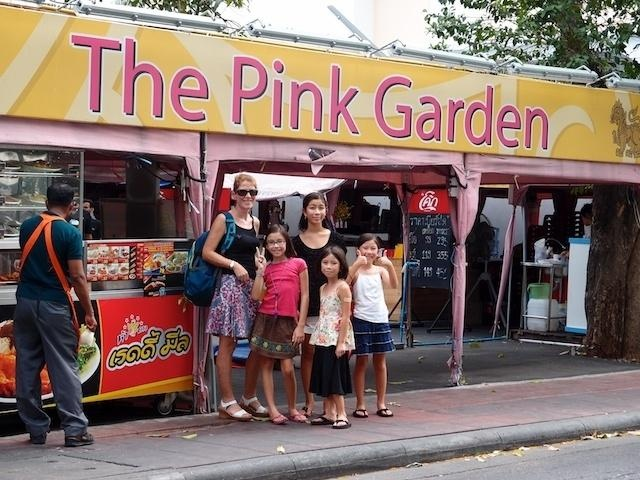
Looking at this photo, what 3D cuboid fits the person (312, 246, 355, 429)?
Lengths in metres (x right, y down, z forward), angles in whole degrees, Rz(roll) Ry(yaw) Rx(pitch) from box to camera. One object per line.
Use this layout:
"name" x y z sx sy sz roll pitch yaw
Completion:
"person" 0.120 0.969 6.579 0.448 1.800 0.364 0 -1 1

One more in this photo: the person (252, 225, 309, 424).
"person" -0.415 0.862 6.676 0.576 2.025 0.318 0 -1 -6

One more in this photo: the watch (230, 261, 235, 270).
"watch" -0.885 0.254 6.542 0.070 0.082 0.051 0 -1 -36

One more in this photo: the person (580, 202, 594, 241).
"person" 5.556 -0.413 13.627 0.212 0.752 1.577 0 0 21

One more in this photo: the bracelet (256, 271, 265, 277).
"bracelet" -0.605 0.349 6.578 0.064 0.065 0.103 4 -8 -4

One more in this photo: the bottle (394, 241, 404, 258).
"bottle" 1.675 0.210 13.933 0.251 0.244 0.437 3 34 9

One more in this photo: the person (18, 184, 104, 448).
"person" -2.320 0.776 5.675 0.646 2.011 0.316 0 -1 11

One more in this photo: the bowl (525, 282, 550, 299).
"bowl" 4.451 1.022 13.232 0.353 0.275 0.303 -6 -6 37

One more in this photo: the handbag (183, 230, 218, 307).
"handbag" -1.228 0.293 6.634 0.363 0.753 0.217 -1 -1 33

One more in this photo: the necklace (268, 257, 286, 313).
"necklace" -0.438 0.488 6.517 0.246 0.434 0.103 -1 -6 -1

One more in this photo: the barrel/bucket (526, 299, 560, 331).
"barrel/bucket" 4.548 1.507 13.214 0.636 0.646 0.621 1 -6 0

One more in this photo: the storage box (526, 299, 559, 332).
"storage box" 4.443 1.516 13.162 0.573 0.729 0.739 -5 -6 35

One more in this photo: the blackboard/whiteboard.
"blackboard/whiteboard" 2.060 0.197 12.164 0.943 1.366 0.317 -1 -1 42

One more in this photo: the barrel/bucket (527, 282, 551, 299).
"barrel/bucket" 4.445 1.020 13.184 0.302 0.252 0.352 1 -9 -8

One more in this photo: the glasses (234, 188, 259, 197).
"glasses" -0.753 -0.481 6.670 0.227 0.085 0.141 0 0 -17

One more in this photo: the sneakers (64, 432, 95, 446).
"sneakers" -2.076 1.721 5.610 0.229 0.107 0.105 -3 10 -39

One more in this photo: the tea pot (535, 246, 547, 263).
"tea pot" 4.504 0.302 13.298 0.252 0.482 0.256 1 -1 0

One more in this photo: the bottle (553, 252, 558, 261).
"bottle" 4.836 0.349 13.365 0.114 0.111 0.115 1 -6 -5
